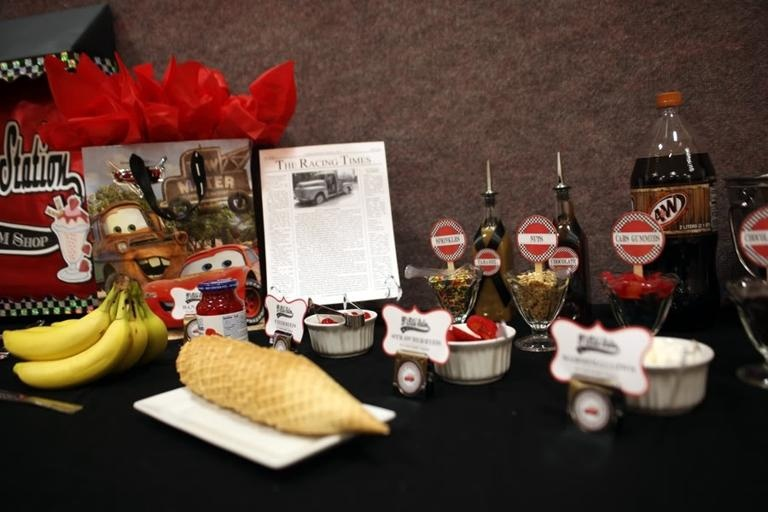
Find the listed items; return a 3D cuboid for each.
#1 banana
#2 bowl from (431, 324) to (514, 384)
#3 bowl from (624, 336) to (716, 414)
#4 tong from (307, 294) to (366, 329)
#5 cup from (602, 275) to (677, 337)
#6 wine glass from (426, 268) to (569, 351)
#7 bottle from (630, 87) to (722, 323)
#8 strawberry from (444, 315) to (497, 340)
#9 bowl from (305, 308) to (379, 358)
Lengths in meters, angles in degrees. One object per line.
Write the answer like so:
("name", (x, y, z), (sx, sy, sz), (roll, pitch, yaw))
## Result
("banana", (-0.693, 0.167, 1.371), (0.353, 0.219, 0.212), (-1, 6, -4))
("bowl", (0.199, 0.227, 1.369), (0.205, 0.102, 0.213), (-1, 5, 0))
("bowl", (0.566, 0.234, 1.177), (0.157, 0.092, 0.155), (-2, 4, 0))
("tong", (-0.099, 0.133, 1.489), (0.087, 0.043, 0.090), (11, 14, 34))
("cup", (0.590, 0.115, 1.423), (0.153, 0.160, 0.151), (-2, -4, 0))
("wine glass", (0.327, 0.130, 1.439), (0.187, 0.183, 0.193), (-2, -5, 3))
("bottle", (0.750, -0.108, 1.533), (0.204, 0.533, 0.243), (-3, 16, 2))
("strawberry", (0.189, 0.169, 1.324), (0.077, 0.027, 0.064), (-12, 11, -17))
("bowl", (-0.112, 0.197, 1.461), (0.138, 0.068, 0.136), (-1, 2, 0))
